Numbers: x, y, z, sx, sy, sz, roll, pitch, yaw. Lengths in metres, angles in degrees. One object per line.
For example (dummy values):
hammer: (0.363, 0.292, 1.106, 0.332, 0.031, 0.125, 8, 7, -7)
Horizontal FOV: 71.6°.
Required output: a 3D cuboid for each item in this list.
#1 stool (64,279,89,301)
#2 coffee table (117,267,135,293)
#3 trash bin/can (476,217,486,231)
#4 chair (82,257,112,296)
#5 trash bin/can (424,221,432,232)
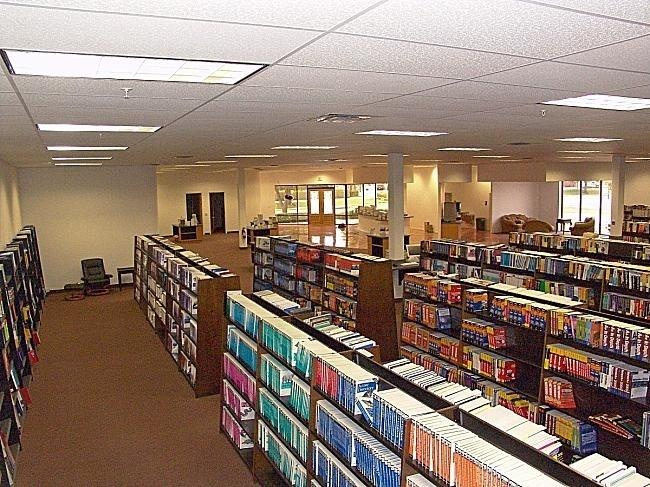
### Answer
stool: (-7.863, 1.453, 14.252, 0.665, 0.392, 0.652, 0, 5, -7)
coffee table: (-6.661, 1.232, 15.050, 0.762, 0.736, 0.543, -4, 9, -29)
trash bin/can: (9.229, -1.087, 26.689, 0.673, 0.726, 0.656, -1, 3, -29)
chair: (-7.365, 1.077, 14.386, 1.030, 1.285, 1.151, -4, 10, -31)
trash bin/can: (6.134, -0.898, 26.672, 0.455, 0.583, 0.811, -1, 10, -8)
